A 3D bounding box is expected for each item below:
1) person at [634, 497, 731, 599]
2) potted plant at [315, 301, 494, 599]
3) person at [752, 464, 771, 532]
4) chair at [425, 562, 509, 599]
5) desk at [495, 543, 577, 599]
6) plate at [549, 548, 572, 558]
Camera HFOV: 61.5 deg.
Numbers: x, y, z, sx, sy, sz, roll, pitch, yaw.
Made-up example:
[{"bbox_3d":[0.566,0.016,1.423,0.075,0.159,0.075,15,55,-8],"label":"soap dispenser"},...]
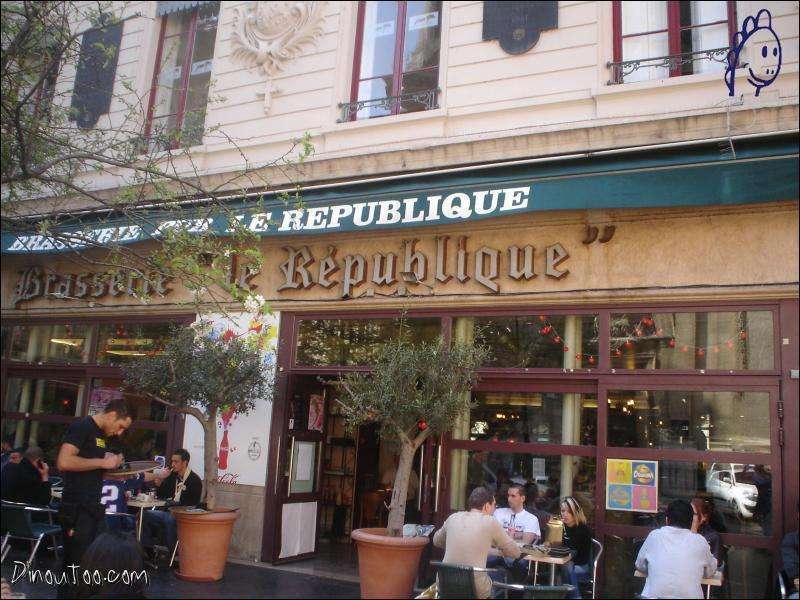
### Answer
[{"bbox_3d":[2.802,2.518,6.831,0.739,0.939,0.611,0,-14,13],"label":"person"},{"bbox_3d":[0.076,1.860,8.766,1.825,3.668,1.579,4,-14,-5],"label":"potted plant"},{"bbox_3d":[4.241,2.304,7.868,0.179,0.730,0.094,1,-14,10],"label":"person"},{"bbox_3d":[0.785,2.901,6.948,0.986,0.383,0.432,11,-16,-30],"label":"chair"},{"bbox_3d":[1.494,2.920,7.224,0.692,0.680,0.700,-2,-15,6],"label":"desk"},{"bbox_3d":[1.814,2.881,7.680,0.141,0.038,0.163,-2,-4,24],"label":"plate"}]
